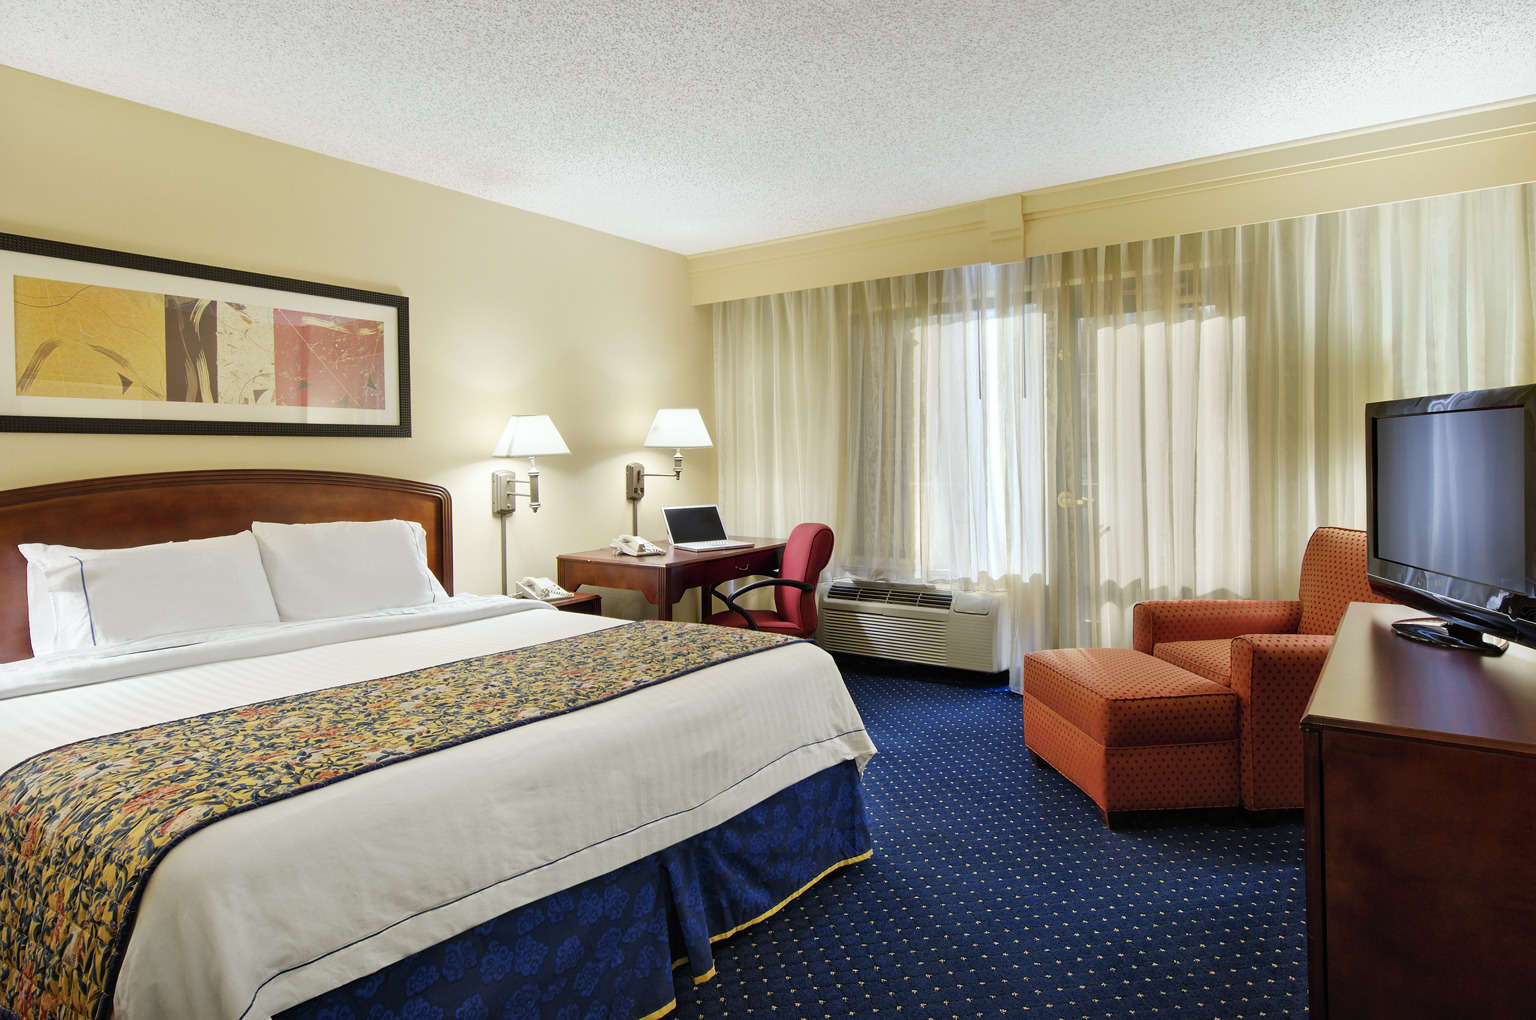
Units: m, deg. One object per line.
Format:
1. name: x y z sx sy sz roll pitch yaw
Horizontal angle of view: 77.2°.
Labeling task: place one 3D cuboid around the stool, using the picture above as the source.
1. stool: 1.702 0.950 4.505 0.631 0.581 0.914 -2 3 -11

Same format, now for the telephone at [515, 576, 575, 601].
1. telephone: -1.311 0.471 5.675 0.187 0.067 0.180 14 11 41

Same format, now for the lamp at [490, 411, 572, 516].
1. lamp: -1.448 -0.260 5.823 0.428 0.586 0.439 1 3 31
